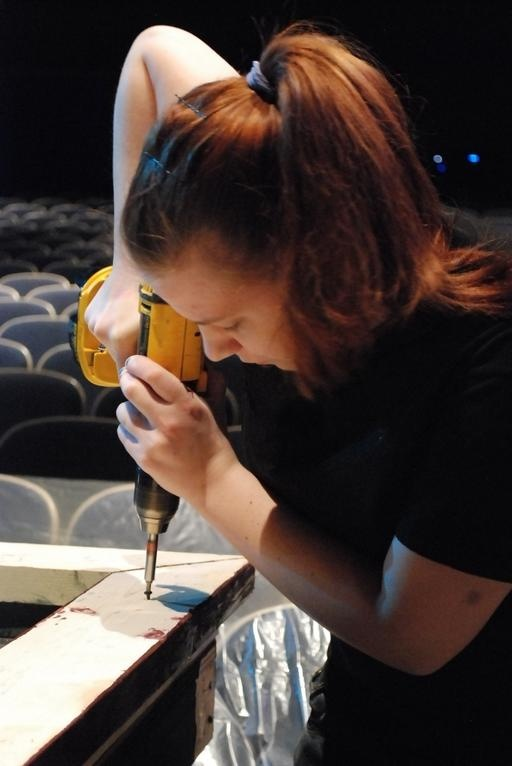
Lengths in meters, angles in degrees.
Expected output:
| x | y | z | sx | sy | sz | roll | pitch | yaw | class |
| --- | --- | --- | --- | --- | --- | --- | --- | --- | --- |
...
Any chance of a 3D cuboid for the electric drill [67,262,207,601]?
| x | y | z | sx | sy | sz | roll | pitch | yaw | class |
| --- | --- | --- | --- | --- | --- | --- | --- | --- | --- |
| -0.093 | 0.048 | 0.789 | 0.189 | 0.340 | 0.184 | -12 | 23 | -31 | electric drill |
